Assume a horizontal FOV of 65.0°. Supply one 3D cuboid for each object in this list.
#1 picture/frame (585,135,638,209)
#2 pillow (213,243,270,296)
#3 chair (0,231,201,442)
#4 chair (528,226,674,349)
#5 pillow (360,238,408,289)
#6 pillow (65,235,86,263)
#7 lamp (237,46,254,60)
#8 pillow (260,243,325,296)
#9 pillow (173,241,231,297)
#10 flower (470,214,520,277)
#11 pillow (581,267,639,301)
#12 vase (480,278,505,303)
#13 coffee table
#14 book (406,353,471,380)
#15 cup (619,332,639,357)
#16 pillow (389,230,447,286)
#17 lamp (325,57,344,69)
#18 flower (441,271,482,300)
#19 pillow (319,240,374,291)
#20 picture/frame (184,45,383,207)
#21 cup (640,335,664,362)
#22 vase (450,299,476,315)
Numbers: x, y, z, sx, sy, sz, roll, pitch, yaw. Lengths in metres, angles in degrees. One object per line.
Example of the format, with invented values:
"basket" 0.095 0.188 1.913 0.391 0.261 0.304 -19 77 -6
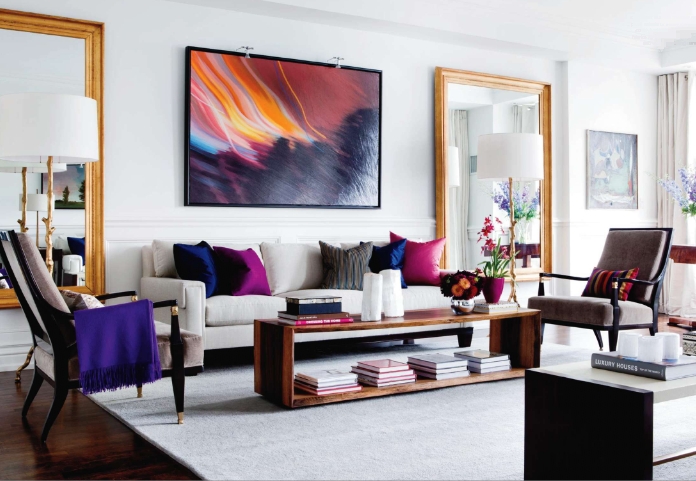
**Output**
"picture/frame" 3.473 -0.942 7.248 1.062 1.062 0.035 -2 1 -29
"pillow" -0.876 0.264 4.738 0.255 0.433 0.522 2 -1 22
"chair" -1.465 0.461 3.557 1.273 1.322 0.952 -1 1 -31
"chair" 2.372 0.448 5.162 1.134 1.126 0.892 0 1 -33
"pillow" 0.369 0.217 5.376 0.477 0.412 0.271 -4 2 40
"pillow" -2.343 0.073 4.712 0.114 0.224 0.198 5 14 39
"lamp" -0.993 -1.811 5.293 0.159 0.151 0.051 2 -7 -29
"pillow" -0.520 0.279 4.981 0.458 0.310 0.165 0 -3 -37
"pillow" -1.185 0.192 4.654 0.207 0.362 0.379 -18 1 6
"flower" 1.466 0.175 5.611 0.340 0.685 0.422 -15 15 -22
"pillow" 2.408 0.418 5.115 0.161 0.296 0.449 18 -9 -30
"vase" 1.117 0.390 4.206 0.192 0.206 0.187 6 -9 -41
"coffee table" 0.394 0.778 3.917 2.062 0.548 0.452 -1 3 -21
"book" 0.603 0.906 3.973 0.202 0.075 0.252 -2 1 -25
"cup" 1.399 0.512 2.698 0.102 0.115 0.103 1 -4 0
"pillow" 0.697 0.199 5.470 0.525 0.508 0.289 3 20 12
"lamp" -0.137 -1.858 5.705 0.166 0.165 0.092 0 2 1
"flower" 0.829 0.336 4.039 0.232 0.221 0.129 -12 -10 -3
"pillow" 0.002 0.238 5.144 0.509 0.448 0.272 3 7 -19
"picture/frame" -0.711 -1.130 5.418 1.738 1.247 0.070 2 -2 -30
"cup" 1.412 0.506 2.583 0.113 0.127 0.113 0 -2 0
"vase" 0.853 0.488 4.045 0.127 0.082 0.116 -1 -1 -6
